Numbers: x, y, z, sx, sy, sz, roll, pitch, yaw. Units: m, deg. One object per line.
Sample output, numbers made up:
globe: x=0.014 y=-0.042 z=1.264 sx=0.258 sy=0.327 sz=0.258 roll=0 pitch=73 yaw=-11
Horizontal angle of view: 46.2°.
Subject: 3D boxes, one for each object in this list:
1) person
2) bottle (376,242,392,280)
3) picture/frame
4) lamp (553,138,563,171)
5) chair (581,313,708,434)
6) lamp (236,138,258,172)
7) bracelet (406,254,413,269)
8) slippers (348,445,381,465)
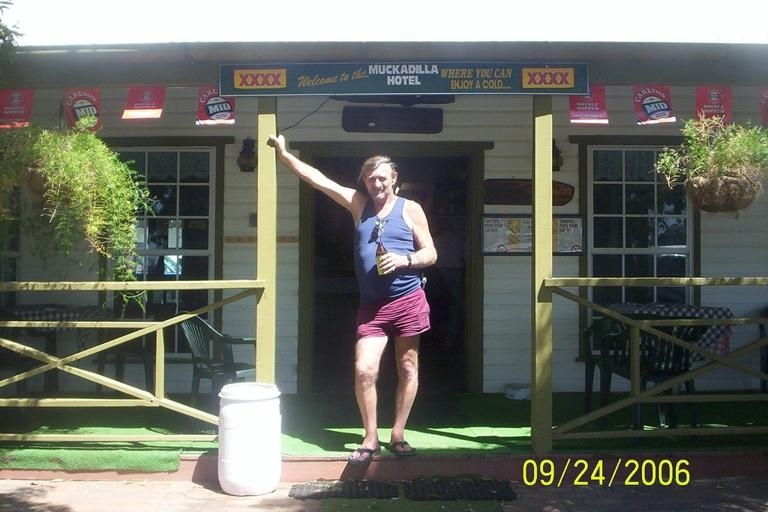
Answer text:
person: x=-0.249 y=0.467 z=7.903 sx=1.229 sy=2.696 sz=0.525 roll=2 pitch=-5 yaw=-6
bottle: x=-0.120 y=0.021 z=7.795 sx=0.118 sy=0.296 sz=0.185 roll=1 pitch=-5 yaw=-2
picture/frame: x=1.623 y=-0.233 z=9.978 sx=1.212 sy=0.523 sz=0.108 roll=-1 pitch=-20 yaw=8
lamp: x=1.949 y=-1.115 z=9.922 sx=0.122 sy=0.353 sz=0.144 roll=0 pitch=-5 yaw=7
chair: x=2.422 y=1.108 z=8.746 sx=1.270 sy=1.459 sz=1.138 roll=0 pitch=4 yaw=-7
lamp: x=-1.772 y=-1.118 z=9.879 sx=0.224 sy=0.384 sz=0.138 roll=2 pitch=-5 yaw=-9
bracelet: x=0.126 y=0.040 z=7.835 sx=0.069 sy=0.104 sz=0.041 roll=4 pitch=-6 yaw=-34
slippers: x=-0.299 y=1.742 z=7.846 sx=0.281 sy=0.157 sz=0.110 roll=1 pitch=-5 yaw=-1
